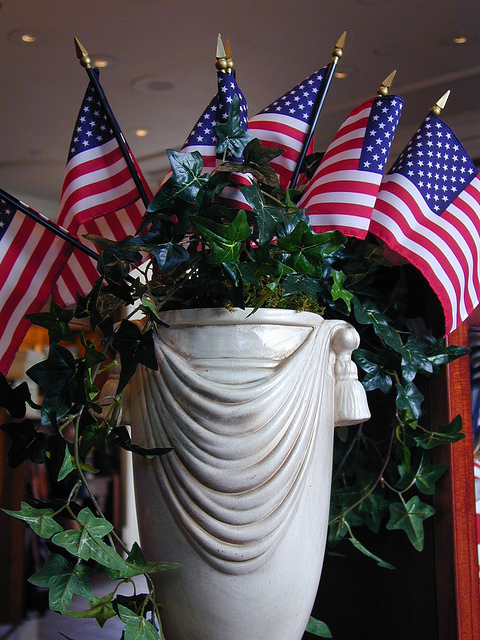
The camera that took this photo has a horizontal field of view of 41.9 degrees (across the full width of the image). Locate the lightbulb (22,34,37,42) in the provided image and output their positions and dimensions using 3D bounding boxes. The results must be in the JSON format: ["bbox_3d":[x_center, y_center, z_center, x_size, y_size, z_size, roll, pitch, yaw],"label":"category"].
[{"bbox_3d":[-1.128,-1.512,3.372,0.081,0.025,0.068,9,12,29],"label":"lightbulb"}]

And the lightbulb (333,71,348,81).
[{"bbox_3d":[0.614,-1.479,3.804,0.079,0.042,0.085,5,11,9],"label":"lightbulb"}]

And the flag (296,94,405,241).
[{"bbox_3d":[0.127,-0.188,0.754,0.111,0.173,0.152,6,12,15],"label":"flag"}]

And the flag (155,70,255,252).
[{"bbox_3d":[-0.018,-0.200,0.734,0.113,0.245,0.021,30,55,20],"label":"flag"}]
